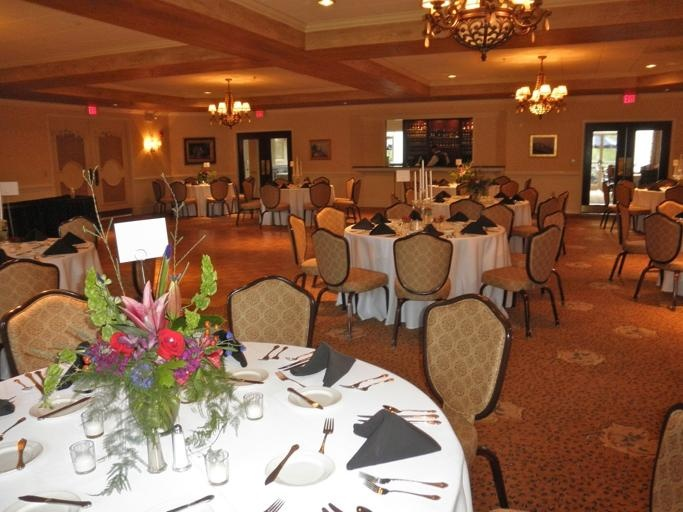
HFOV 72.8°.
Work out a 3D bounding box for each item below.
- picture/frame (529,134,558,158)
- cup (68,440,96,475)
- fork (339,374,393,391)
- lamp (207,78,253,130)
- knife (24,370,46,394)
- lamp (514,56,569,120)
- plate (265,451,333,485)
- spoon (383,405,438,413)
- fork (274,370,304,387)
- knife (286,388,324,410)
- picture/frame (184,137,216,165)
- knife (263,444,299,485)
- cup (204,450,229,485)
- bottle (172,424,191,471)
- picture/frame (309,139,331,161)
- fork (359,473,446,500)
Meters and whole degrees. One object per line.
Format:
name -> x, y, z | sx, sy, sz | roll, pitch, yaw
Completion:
picture/frame -> 5.517, -2.997, 12.557 | 0.724, 0.620, 0.050 | 3, 10, 22
cup -> -0.840, 0.641, 1.496 | 0.071, 0.113, 0.086 | -10, 15, -31
fork -> 0.116, 0.557, 2.013 | 0.255, 0.034, 0.073 | -9, 12, -39
lamp -> -2.633, -3.570, 10.863 | 1.008, 1.145, 0.976 | -13, 22, -33
knife -> -1.369, 0.565, 2.061 | 0.067, 0.021, 0.287 | -11, 15, -37
lamp -> 3.894, -3.256, 8.962 | 0.953, 1.110, 1.021 | -1, 14, 9
plate -> -0.109, 0.689, 1.483 | 0.164, 0.021, 0.180 | 3, 12, 21
spoon -> 0.264, 0.600, 1.800 | 0.201, 0.009, 0.057 | -1, 12, 4
fork -> -0.245, 0.544, 2.073 | 0.047, 0.031, 0.229 | -19, 8, -33
knife -> -0.163, 0.561, 1.890 | 0.049, 0.023, 0.288 | -9, 9, -33
picture/frame -> -4.780, -3.494, 15.356 | 1.385, 1.115, 0.085 | -2, 10, -20
knife -> -0.197, 0.678, 1.501 | 0.030, 0.033, 0.205 | 12, 11, 12
cup -> -0.389, 0.649, 1.435 | 0.071, 0.111, 0.067 | -2, 13, 0
bottle -> -0.530, 0.611, 1.499 | 0.059, 0.159, 0.084 | -7, 14, -22
picture/frame -> -0.659, -3.351, 14.614 | 0.760, 0.599, 0.055 | 1, 7, 16
fork -> 0.180, 0.710, 1.415 | 0.278, 0.020, 0.080 | 0, 15, 8
